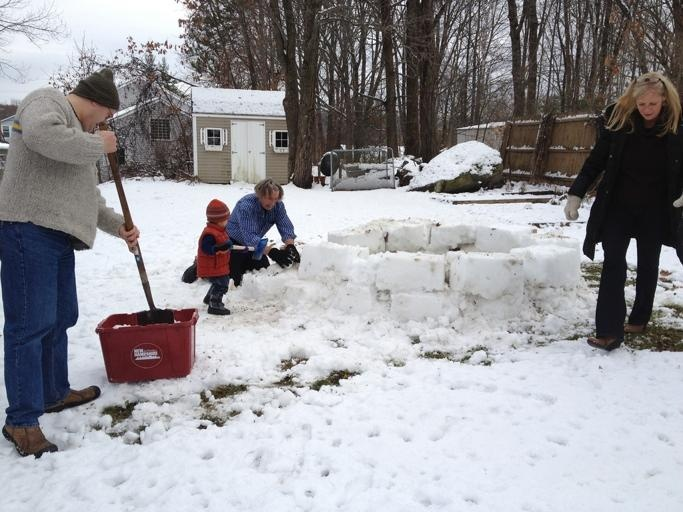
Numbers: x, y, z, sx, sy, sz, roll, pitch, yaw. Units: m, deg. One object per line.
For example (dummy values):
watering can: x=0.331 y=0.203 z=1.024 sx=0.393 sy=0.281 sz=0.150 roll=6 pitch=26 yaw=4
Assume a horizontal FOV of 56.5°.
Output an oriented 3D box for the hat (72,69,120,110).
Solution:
hat: x=-1.597 y=-1.089 z=4.230 sx=0.319 sy=0.257 sz=0.234 roll=13 pitch=13 yaw=-33

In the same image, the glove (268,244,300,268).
glove: x=-0.576 y=0.003 z=6.342 sx=0.268 sy=0.089 sz=0.212 roll=27 pitch=40 yaw=33

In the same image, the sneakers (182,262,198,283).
sneakers: x=-1.635 y=0.183 z=6.779 sx=0.149 sy=0.116 sz=0.213 roll=-14 pitch=16 yaw=-20

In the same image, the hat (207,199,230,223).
hat: x=-1.183 y=-0.404 z=6.081 sx=0.214 sy=0.210 sz=0.216 roll=-7 pitch=18 yaw=-12

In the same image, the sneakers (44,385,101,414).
sneakers: x=-1.854 y=0.993 z=4.411 sx=0.358 sy=0.148 sz=0.121 roll=-19 pitch=18 yaw=-41

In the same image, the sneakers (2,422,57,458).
sneakers: x=-1.964 y=1.150 z=4.058 sx=0.379 sy=0.181 sz=0.148 roll=17 pitch=9 yaw=1

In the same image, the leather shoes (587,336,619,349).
leather shoes: x=2.038 y=0.684 z=4.985 sx=0.255 sy=0.102 sz=0.094 roll=14 pitch=1 yaw=28

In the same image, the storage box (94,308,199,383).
storage box: x=-1.387 y=0.665 z=4.589 sx=0.672 sy=0.456 sz=0.481 roll=-4 pitch=11 yaw=-12
